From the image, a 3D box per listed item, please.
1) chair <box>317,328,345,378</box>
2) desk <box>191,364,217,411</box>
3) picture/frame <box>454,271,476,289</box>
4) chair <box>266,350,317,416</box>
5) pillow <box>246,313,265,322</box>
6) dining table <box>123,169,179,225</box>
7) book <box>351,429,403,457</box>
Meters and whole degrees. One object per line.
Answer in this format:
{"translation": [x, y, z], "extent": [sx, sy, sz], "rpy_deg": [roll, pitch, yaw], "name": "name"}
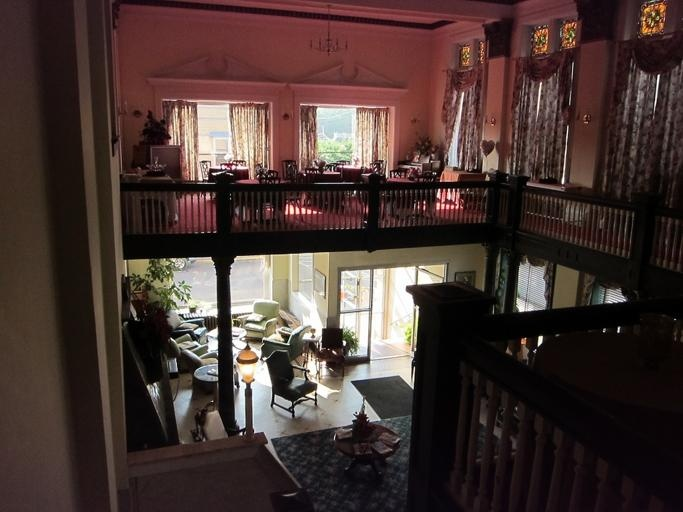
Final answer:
{"translation": [-0.220, 2.163, 11.950], "extent": [0.542, 1.034, 0.586], "rpy_deg": [2, 14, 2], "name": "chair"}
{"translation": [-2.633, 2.513, 10.382], "extent": [0.452, 0.598, 0.988], "rpy_deg": [-2, 13, -16], "name": "desk"}
{"translation": [2.874, 0.510, 12.458], "extent": [0.570, 0.345, 0.217], "rpy_deg": [-5, 14, -28], "name": "picture/frame"}
{"translation": [-0.907, 2.370, 10.162], "extent": [0.805, 1.068, 0.860], "rpy_deg": [-7, 12, -35], "name": "chair"}
{"translation": [-2.221, 1.601, 13.875], "extent": [0.476, 0.170, 0.293], "rpy_deg": [9, 14, 27], "name": "pillow"}
{"translation": [-2.832, -0.872, 8.487], "extent": [0.654, 0.831, 1.192], "rpy_deg": [-13, 6, -6], "name": "dining table"}
{"translation": [0.508, 2.877, 8.279], "extent": [0.433, 0.112, 0.450], "rpy_deg": [-4, 13, -10], "name": "book"}
